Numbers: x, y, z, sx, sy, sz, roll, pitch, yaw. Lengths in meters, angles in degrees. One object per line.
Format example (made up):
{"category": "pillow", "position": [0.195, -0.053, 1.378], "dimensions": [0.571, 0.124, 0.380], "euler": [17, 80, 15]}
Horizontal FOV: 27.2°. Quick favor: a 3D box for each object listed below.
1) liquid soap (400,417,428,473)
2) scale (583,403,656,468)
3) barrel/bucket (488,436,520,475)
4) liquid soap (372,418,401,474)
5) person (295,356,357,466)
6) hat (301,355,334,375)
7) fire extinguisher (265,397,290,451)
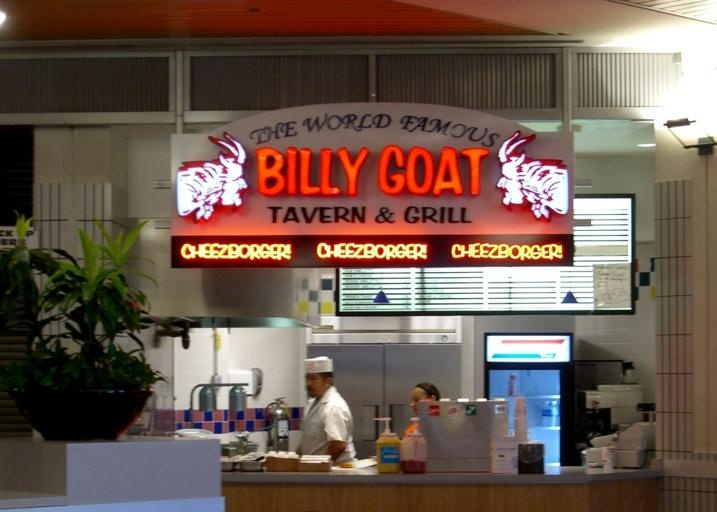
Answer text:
{"category": "liquid soap", "position": [0.411, 1.440, 11.253], "dimensions": [0.195, 0.414, 0.233], "euler": [-1, -5, 8]}
{"category": "scale", "position": [2.032, 1.474, 11.563], "dimensions": [0.564, 0.367, 0.367], "euler": [-1, -5, 8]}
{"category": "barrel/bucket", "position": [1.080, 1.495, 11.160], "dimensions": [0.250, 0.353, 0.246], "euler": [0, -11, 0]}
{"category": "liquid soap", "position": [0.214, 1.447, 11.297], "dimensions": [0.180, 0.406, 0.298], "euler": [0, -5, -2]}
{"category": "person", "position": [-0.255, 1.240, 11.902], "dimensions": [0.432, 0.841, 0.649], "euler": [2, -6, -33]}
{"category": "hat", "position": [-0.341, 0.905, 12.280], "dimensions": [0.205, 0.136, 0.264], "euler": [0, -2, 7]}
{"category": "fire extinguisher", "position": [-0.743, 1.517, 13.312], "dimensions": [0.223, 0.461, 0.397], "euler": [0, -5, -4]}
